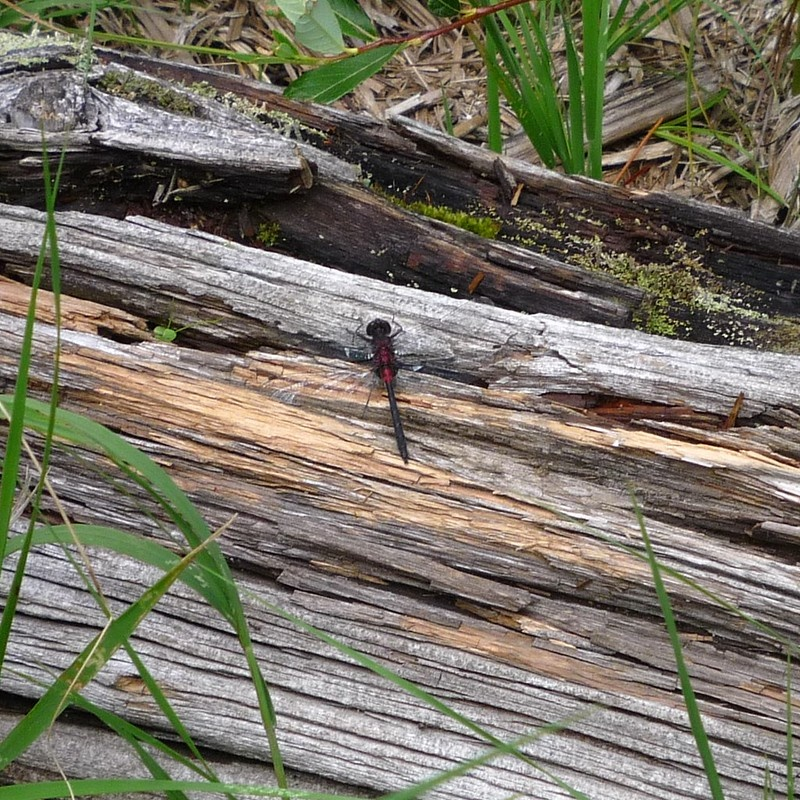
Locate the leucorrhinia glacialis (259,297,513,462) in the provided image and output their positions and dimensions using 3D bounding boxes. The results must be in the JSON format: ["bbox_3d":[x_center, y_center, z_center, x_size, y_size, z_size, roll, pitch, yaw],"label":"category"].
[{"bbox_3d":[-0.078,-0.056,3.894,0.708,0.143,0.534,-4,72,-10],"label":"leucorrhinia glacialis"}]
